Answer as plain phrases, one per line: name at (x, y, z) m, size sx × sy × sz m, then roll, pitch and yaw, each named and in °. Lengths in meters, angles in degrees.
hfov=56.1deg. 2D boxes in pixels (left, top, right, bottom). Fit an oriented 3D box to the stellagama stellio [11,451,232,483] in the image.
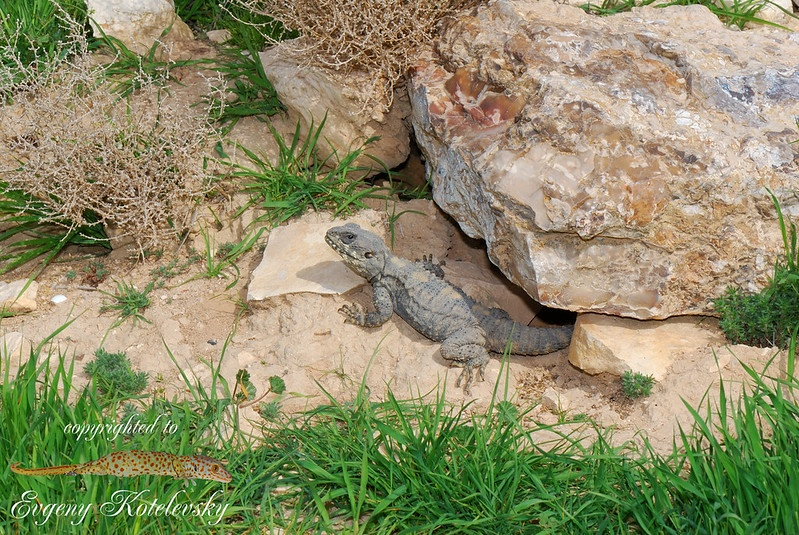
stellagama stellio at (-2.142, 1.511, 5.610) m, size 1.194 × 0.225 × 0.167 m, roll 2°, pitch 83°, yaw -5°
